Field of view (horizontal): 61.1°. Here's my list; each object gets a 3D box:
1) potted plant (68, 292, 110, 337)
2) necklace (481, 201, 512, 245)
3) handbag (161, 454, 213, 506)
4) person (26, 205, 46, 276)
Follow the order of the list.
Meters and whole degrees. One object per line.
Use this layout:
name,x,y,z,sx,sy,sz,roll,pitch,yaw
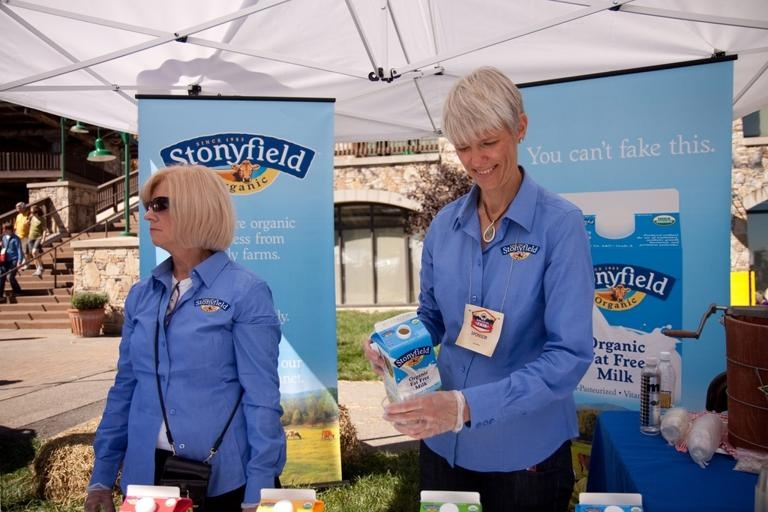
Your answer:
potted plant,-6.592,1.240,14.647,0.824,1.092,0.948,0,1,10
necklace,0.741,-0.224,4.576,0.260,0.333,0.018,-27,53,-20
handbag,-1.383,1.556,4.707,0.354,0.360,0.310,9,-14,-6
person,-8.864,-0.358,16.634,0.360,1.542,0.648,-2,1,-30
